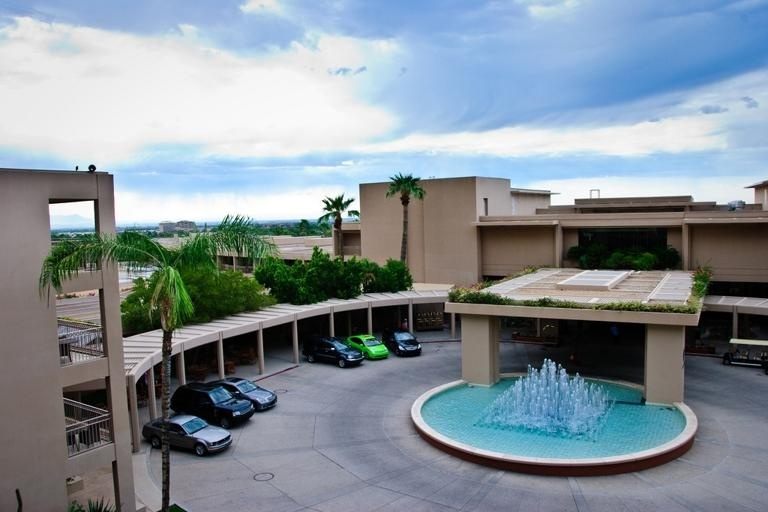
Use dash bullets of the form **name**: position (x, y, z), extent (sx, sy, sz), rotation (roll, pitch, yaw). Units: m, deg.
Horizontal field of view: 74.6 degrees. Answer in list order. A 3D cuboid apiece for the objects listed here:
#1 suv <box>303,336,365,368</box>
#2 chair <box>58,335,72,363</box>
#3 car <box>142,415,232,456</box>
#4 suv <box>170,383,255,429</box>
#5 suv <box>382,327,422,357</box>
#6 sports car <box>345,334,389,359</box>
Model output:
- **suv**: position (-3.541, 6.540, 34.138), extent (4.261, 1.597, 1.078), rotation (3, 10, 30)
- **chair**: position (-10.815, 3.190, 17.120), extent (0.350, 0.870, 0.565), rotation (-7, 11, -30)
- **car**: position (-8.614, 8.139, 23.015), extent (4.690, 1.296, 2.111), rotation (1, 2, 23)
- **suv**: position (-8.753, 7.505, 25.782), extent (4.089, 1.470, 1.908), rotation (2, 4, 27)
- **suv**: position (1.334, 6.407, 36.696), extent (1.829, 1.222, 2.816), rotation (-5, 8, -24)
- **sports car**: position (-1.151, 6.497, 35.845), extent (1.385, 0.918, 2.750), rotation (-2, 3, -35)
